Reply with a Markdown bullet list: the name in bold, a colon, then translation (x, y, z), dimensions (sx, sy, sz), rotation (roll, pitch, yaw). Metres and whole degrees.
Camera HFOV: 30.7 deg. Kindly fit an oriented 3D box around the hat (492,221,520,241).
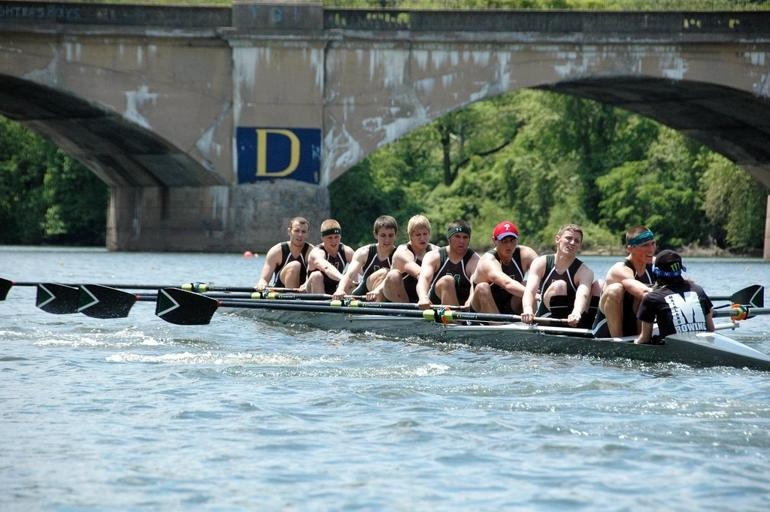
- **hat**: translation (2.359, -0.533, 27.951), dimensions (0.387, 0.315, 0.533), rotation (1, -4, -6)
